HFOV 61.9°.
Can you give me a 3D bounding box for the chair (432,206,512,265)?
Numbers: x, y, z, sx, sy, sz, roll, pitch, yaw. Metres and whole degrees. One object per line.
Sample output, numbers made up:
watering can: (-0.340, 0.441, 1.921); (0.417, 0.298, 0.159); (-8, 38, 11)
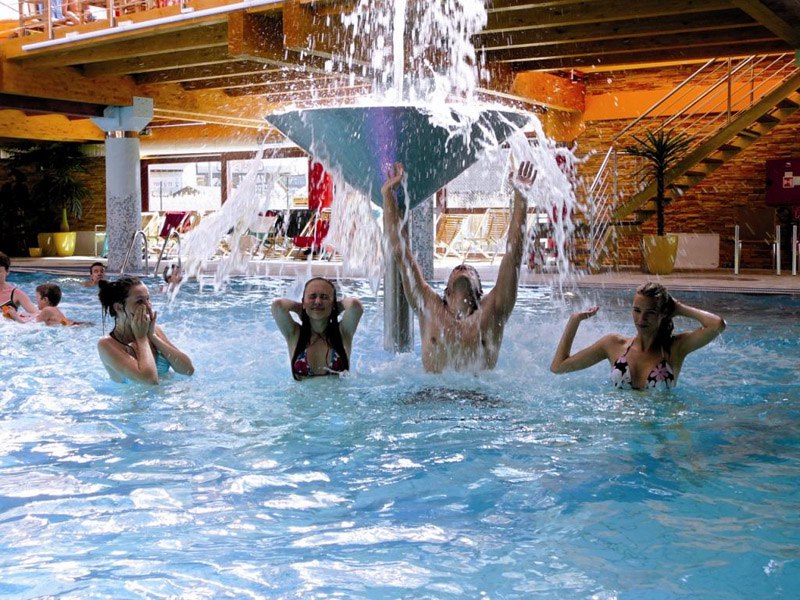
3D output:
chair: (1.866, -1.697, 17.235); (2.210, 1.449, 1.415); (-1, 9, 6)
